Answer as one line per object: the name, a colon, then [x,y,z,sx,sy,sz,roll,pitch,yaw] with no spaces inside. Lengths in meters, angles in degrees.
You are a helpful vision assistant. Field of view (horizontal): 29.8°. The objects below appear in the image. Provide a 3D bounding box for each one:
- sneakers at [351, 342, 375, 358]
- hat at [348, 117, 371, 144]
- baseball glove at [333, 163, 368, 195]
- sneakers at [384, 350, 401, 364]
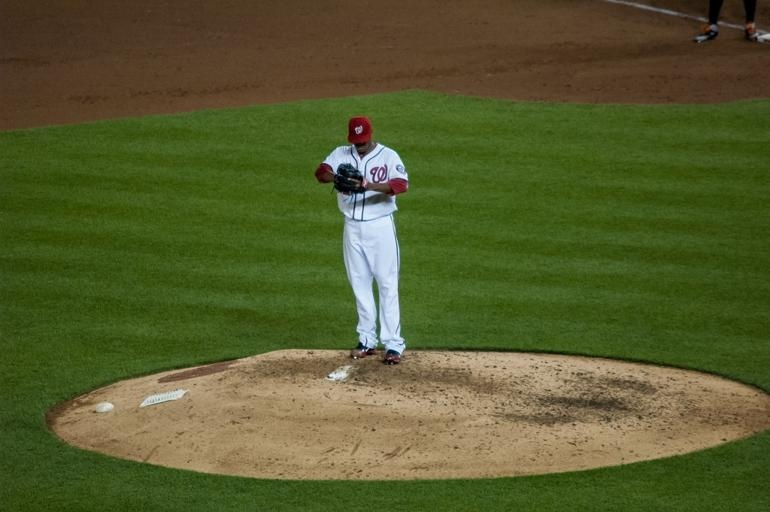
sneakers: [-0.375,1.573,23.708,0.212,0.167,0.432,0,-3,32]
hat: [-0.411,-2.076,23.402,0.397,0.221,0.432,-2,41,2]
baseball glove: [-0.569,-1.237,23.179,0.488,0.476,0.263,-3,13,-2]
sneakers: [0.126,1.640,23.527,0.292,0.167,0.435,0,-3,3]
